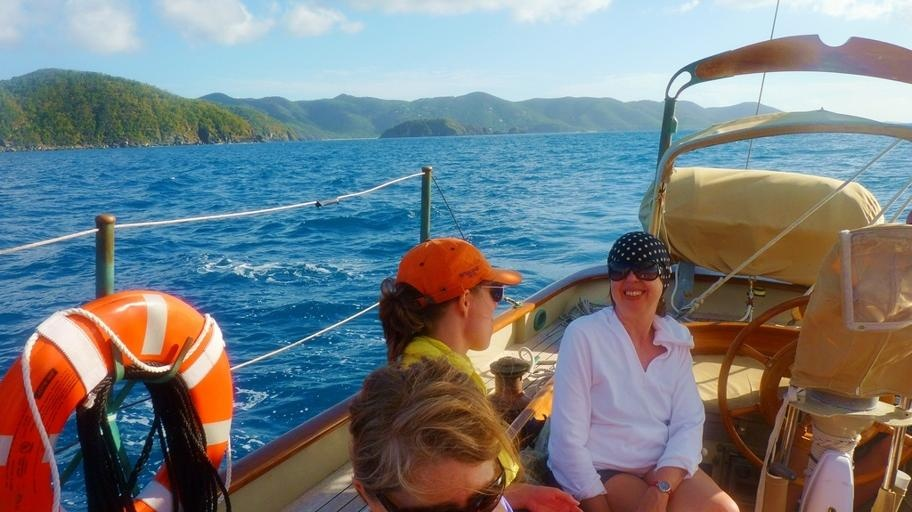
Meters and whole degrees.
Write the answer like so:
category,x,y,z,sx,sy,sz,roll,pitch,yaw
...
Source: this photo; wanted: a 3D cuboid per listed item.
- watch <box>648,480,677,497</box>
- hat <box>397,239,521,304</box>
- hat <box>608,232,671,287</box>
category,x,y,z,sx,sy,sz,roll,pitch,yaw
watch,1.120,1.246,3.050,0.131,0.086,0.081,3,11,11
hat,-0.017,0.078,3.064,0.546,0.222,0.327,-1,2,-21
hat,1.108,-0.001,3.407,0.360,0.245,0.342,-6,-20,28
